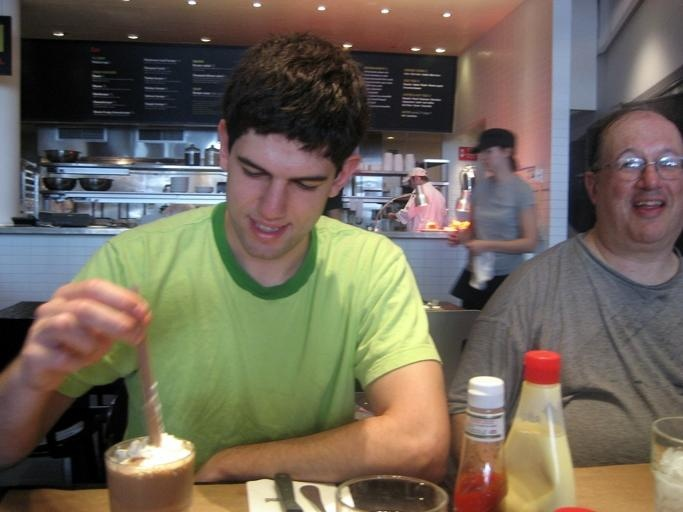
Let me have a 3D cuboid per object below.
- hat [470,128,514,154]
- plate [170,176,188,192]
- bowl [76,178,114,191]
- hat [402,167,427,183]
[{"bbox_3d":[0.839,-0.640,3.197,0.228,0.086,0.138,0,4,-1],"label":"hat"},{"bbox_3d":[-1.754,-0.764,6.168,0.204,0.118,0.174,2,-2,-7],"label":"plate"},{"bbox_3d":[-2.548,-0.737,5.886,0.321,0.084,0.273,1,-2,-3],"label":"bowl"},{"bbox_3d":[0.768,-0.842,5.882,0.338,0.129,0.201,0,1,1],"label":"hat"}]
